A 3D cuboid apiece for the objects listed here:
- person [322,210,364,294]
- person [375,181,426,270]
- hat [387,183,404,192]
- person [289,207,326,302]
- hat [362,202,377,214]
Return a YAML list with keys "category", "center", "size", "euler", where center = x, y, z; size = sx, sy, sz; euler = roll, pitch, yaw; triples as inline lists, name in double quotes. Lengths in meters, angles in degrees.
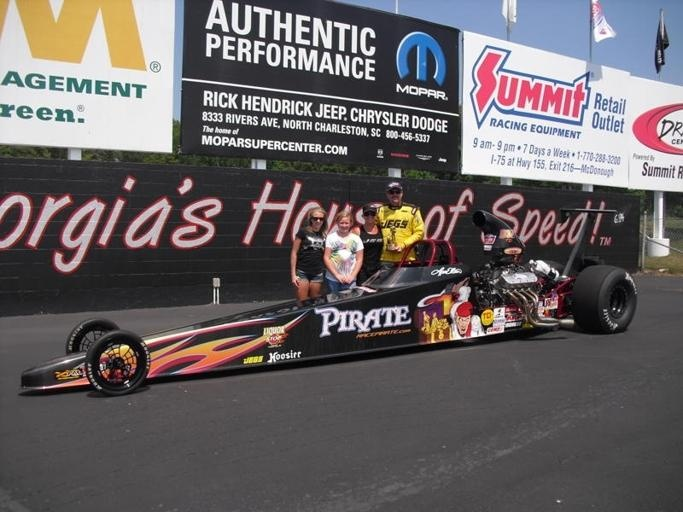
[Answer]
- category: "person"
  center: [0.020, 0.234, 7.124]
  size: [0.430, 1.559, 0.434]
  euler: [4, 24, 5]
- category: "person"
  center: [0.701, -0.144, 7.550]
  size: [0.633, 1.672, 0.497]
  euler: [5, 15, 22]
- category: "hat"
  center: [0.708, -0.900, 7.398]
  size: [0.171, 0.142, 0.245]
  euler: [0, 6, 0]
- category: "person"
  center: [-0.406, 0.207, 7.344]
  size: [0.428, 1.682, 0.453]
  euler: [0, 17, -15]
- category: "hat"
  center: [0.346, -0.585, 7.070]
  size: [0.139, 0.125, 0.255]
  euler: [1, 19, 1]
